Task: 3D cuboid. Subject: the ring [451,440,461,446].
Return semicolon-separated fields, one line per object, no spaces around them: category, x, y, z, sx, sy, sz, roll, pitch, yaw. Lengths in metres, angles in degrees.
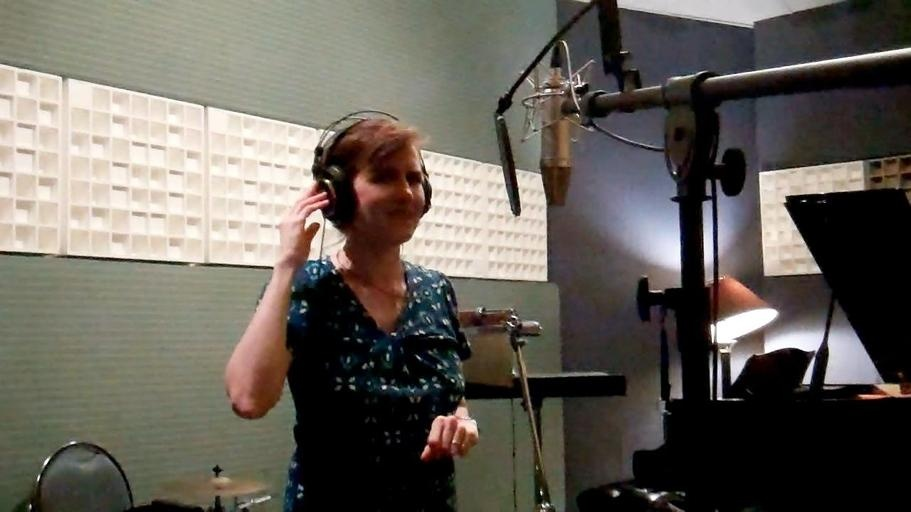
ring;-0.001;0.881;3.902;0.032;0.010;0.044;8;-2;-11

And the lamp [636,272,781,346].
lamp;1.951;0.400;6.519;1.113;0.534;0.784;-4;-10;5

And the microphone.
microphone;0.597;-0.769;4.906;0.183;0.937;0.268;1;-10;5
